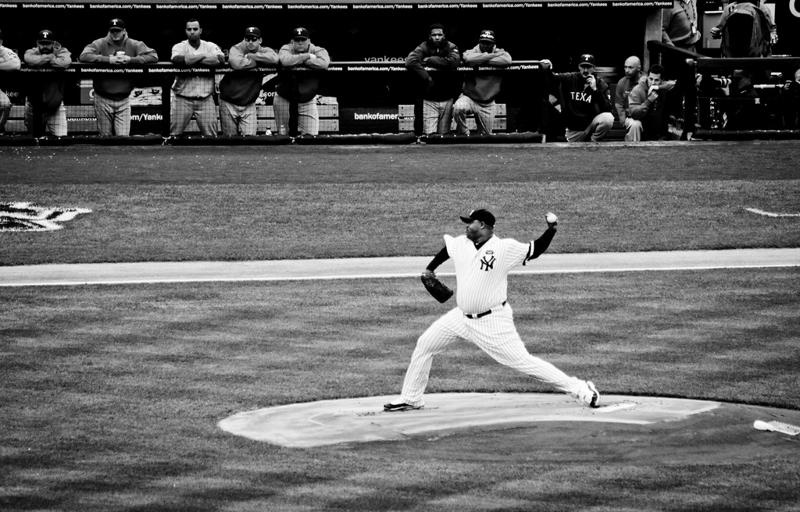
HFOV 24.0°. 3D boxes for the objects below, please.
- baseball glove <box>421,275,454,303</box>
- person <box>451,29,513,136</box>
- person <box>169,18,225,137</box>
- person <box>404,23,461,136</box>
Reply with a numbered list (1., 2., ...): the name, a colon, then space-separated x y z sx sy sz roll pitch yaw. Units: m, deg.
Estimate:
1. baseball glove: 0.588 0.516 30.108 0.555 0.202 0.339 41 -13 -10
2. person: 1.723 -3.700 41.215 1.120 2.303 0.912 1 0 -4
3. person: -4.479 -3.781 40.732 1.161 2.364 0.728 1 -5 -19
4. person: 0.746 -3.724 40.903 1.169 2.404 0.899 1 5 1
